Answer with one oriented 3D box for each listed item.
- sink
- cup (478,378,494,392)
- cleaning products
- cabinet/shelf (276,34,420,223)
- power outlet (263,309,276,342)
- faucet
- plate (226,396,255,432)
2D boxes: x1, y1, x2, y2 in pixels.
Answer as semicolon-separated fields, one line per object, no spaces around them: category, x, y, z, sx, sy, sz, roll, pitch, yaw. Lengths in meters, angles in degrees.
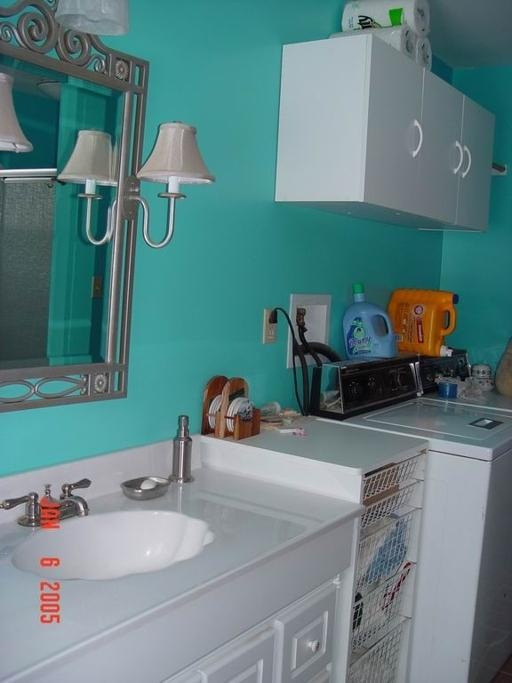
sink;-0.289;0.422;1.116;0.372;0.127;0.196;2;1;-24
cup;1.128;0.210;2.713;0.067;0.060;0.068;-1;2;0
cleaning products;0.491;-0.081;2.324;0.245;0.317;0.200;3;0;-3
cabinet/shelf;0.224;-0.760;1.981;0.637;0.519;0.329;18;24;39
power outlet;0.043;-0.058;1.904;0.009;0.124;0.111;5;5;32
faucet;-0.417;0.320;1.142;0.071;0.064;0.186;1;-1;38
plate;-0.047;0.210;1.616;0.028;0.086;0.083;7;3;24
